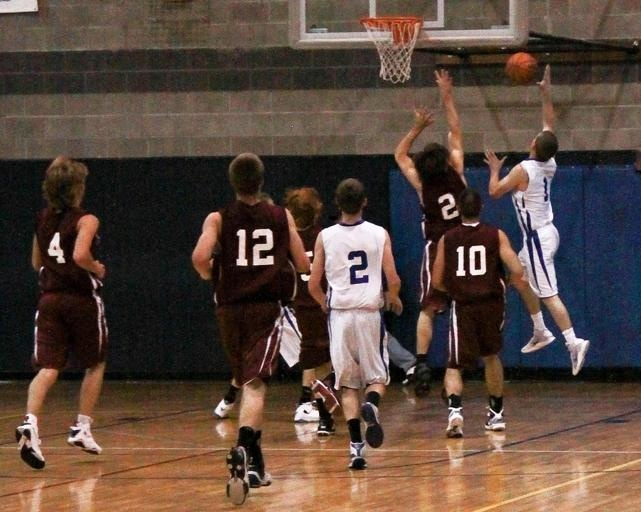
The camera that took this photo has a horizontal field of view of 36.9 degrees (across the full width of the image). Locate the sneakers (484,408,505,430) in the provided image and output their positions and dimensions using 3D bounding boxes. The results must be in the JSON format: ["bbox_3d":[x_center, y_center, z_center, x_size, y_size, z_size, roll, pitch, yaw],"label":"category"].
[{"bbox_3d":[1.489,1.383,8.130,0.097,0.200,0.263,1,-3,3],"label":"sneakers"}]

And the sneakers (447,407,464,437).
[{"bbox_3d":[1.104,1.348,7.788,0.101,0.150,0.291,0,-35,2],"label":"sneakers"}]

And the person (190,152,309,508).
[{"bbox_3d":[-0.467,0.448,6.454,0.745,2.317,0.480,-3,0,-41],"label":"person"}]

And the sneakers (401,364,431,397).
[{"bbox_3d":[0.851,1.102,8.400,0.212,0.334,0.699,2,-3,1],"label":"sneakers"}]

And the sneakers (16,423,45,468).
[{"bbox_3d":[-2.130,1.396,7.072,0.182,0.369,0.267,-3,0,-16],"label":"sneakers"}]

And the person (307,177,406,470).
[{"bbox_3d":[0.261,0.488,6.988,0.655,2.102,0.362,-3,0,4],"label":"person"}]

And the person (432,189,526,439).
[{"bbox_3d":[1.304,0.454,7.843,0.725,1.996,0.572,-3,0,20],"label":"person"}]

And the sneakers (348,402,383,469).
[{"bbox_3d":[0.322,1.270,6.821,0.162,0.594,0.236,-6,20,-1],"label":"sneakers"}]

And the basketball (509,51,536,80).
[{"bbox_3d":[2.053,-1.913,9.737,0.248,0.313,0.265,-2,7,9],"label":"basketball"}]

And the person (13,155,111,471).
[{"bbox_3d":[-1.946,0.403,7.220,0.656,2.378,0.500,-3,0,-16],"label":"person"}]

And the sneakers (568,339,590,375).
[{"bbox_3d":[2.577,0.989,9.557,0.179,0.486,0.165,12,46,14],"label":"sneakers"}]
